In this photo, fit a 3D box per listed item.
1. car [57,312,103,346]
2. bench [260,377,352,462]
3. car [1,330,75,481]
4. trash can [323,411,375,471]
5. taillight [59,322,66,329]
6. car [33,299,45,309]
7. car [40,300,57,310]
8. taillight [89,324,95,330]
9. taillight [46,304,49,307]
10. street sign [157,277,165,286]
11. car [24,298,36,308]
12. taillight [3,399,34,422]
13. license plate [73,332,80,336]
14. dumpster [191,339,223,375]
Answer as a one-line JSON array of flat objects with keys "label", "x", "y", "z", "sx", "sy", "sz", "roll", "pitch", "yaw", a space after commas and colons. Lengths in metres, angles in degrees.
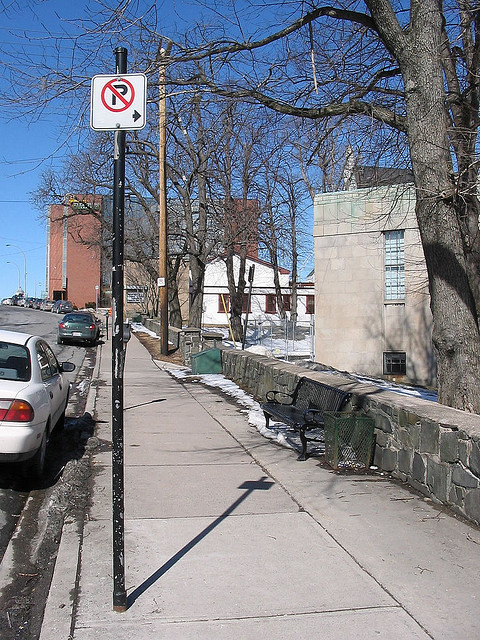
[{"label": "car", "x": -6.639, "y": 0.364, "z": 25.234, "sx": 1.080, "sy": 0.897, "sz": 2.428, "roll": 1, "pitch": 8, "yaw": -7}, {"label": "bench", "x": 0.842, "y": 1.304, "z": 8.098, "sx": 0.670, "sy": 0.841, "sz": 1.743, "roll": 1, "pitch": 1, "yaw": -13}, {"label": "car", "x": -2.134, "y": 0.857, "z": 6.286, "sx": 0.773, "sy": 0.808, "sz": 1.758, "roll": 1, "pitch": 10, "yaw": -4}, {"label": "trash can", "x": 1.246, "y": 1.371, "z": 6.632, "sx": 0.525, "sy": 0.544, "sz": 0.537, "roll": 8, "pitch": -9, "yaw": -36}, {"label": "taillight", "x": -7.160, "y": 0.225, "z": 24.121, "sx": 0.219, "sy": 0.254, "sz": 0.303, "roll": 1, "pitch": 0, "yaw": -25}, {"label": "car", "x": -28.638, "y": -2.036, "z": 84.424, "sx": 1.415, "sy": 1.130, "sz": 2.401, "roll": 4, "pitch": 13, "yaw": -11}, {"label": "car", "x": -25.928, "y": -2.070, "z": 80.394, "sx": 1.430, "sy": 1.126, "sz": 3.223, "roll": 0, "pitch": 7, "yaw": -19}, {"label": "taillight", "x": -6.032, "y": 0.283, "z": 24.302, "sx": 0.156, "sy": 0.247, "sz": 0.069, "roll": 0, "pitch": -4, "yaw": 1}, {"label": "taillight", "x": -25.549, "y": -2.022, "z": 79.361, "sx": 0.256, "sy": 0.266, "sz": 0.257, "roll": 32, "pitch": 19, "yaw": 27}, {"label": "street sign", "x": -2.722, "y": -1.328, "z": 20.738, "sx": 0.174, "sy": 0.266, "sz": 0.479, "roll": 1, "pitch": 0, "yaw": -16}, {"label": "car", "x": -30.933, "y": -2.355, "z": 87.852, "sx": 1.378, "sy": 1.252, "sz": 2.306, "roll": 0, "pitch": 11, "yaw": -20}, {"label": "taillight", "x": -2.029, "y": 0.854, "z": 5.493, "sx": 0.189, "sy": 0.208, "sz": 0.202, "roll": 18, "pitch": -20, "yaw": -21}, {"label": "license plate", "x": -6.576, "y": 0.565, "z": 24.031, "sx": 0.243, "sy": 0.128, "sz": 0.065, "roll": 1, "pitch": 1, "yaw": -27}, {"label": "dumpster", "x": -0.901, "y": 0.999, "z": 16.278, "sx": 0.846, "sy": 1.175, "sz": 0.644, "roll": -3, "pitch": -2, "yaw": -23}]
